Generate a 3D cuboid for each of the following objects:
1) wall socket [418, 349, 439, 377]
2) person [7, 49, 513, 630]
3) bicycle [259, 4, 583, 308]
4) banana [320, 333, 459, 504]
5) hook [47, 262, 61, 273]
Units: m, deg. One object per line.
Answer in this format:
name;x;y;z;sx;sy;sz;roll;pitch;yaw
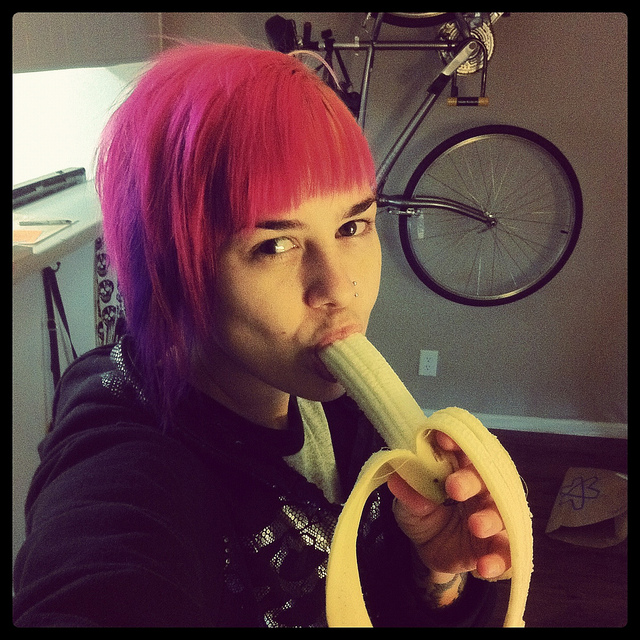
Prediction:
wall socket;0.260;0.103;1.513;0.052;0.085;0.008;1;2;-20
person;-0.158;0.066;0.949;0.571;0.917;0.407;-5;10;-24
bicycle;0.231;-0.421;1.618;0.810;0.655;0.480;6;16;0
banana;0.085;0.121;0.932;0.327;0.092;0.075;45;15;-40
hook;-0.672;-0.130;1.579;0.018;0.028;0.006;-13;32;-30
